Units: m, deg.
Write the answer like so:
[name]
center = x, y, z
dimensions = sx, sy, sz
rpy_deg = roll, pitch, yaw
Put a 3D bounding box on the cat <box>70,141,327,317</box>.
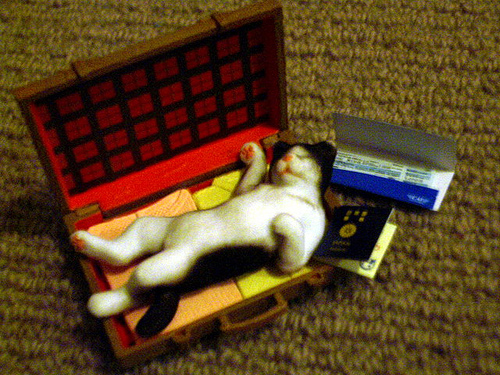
[cat]
center = -0.105, 0.092, 1.047
dimensions = 0.613, 0.189, 0.267
rpy_deg = -12, 46, -7
